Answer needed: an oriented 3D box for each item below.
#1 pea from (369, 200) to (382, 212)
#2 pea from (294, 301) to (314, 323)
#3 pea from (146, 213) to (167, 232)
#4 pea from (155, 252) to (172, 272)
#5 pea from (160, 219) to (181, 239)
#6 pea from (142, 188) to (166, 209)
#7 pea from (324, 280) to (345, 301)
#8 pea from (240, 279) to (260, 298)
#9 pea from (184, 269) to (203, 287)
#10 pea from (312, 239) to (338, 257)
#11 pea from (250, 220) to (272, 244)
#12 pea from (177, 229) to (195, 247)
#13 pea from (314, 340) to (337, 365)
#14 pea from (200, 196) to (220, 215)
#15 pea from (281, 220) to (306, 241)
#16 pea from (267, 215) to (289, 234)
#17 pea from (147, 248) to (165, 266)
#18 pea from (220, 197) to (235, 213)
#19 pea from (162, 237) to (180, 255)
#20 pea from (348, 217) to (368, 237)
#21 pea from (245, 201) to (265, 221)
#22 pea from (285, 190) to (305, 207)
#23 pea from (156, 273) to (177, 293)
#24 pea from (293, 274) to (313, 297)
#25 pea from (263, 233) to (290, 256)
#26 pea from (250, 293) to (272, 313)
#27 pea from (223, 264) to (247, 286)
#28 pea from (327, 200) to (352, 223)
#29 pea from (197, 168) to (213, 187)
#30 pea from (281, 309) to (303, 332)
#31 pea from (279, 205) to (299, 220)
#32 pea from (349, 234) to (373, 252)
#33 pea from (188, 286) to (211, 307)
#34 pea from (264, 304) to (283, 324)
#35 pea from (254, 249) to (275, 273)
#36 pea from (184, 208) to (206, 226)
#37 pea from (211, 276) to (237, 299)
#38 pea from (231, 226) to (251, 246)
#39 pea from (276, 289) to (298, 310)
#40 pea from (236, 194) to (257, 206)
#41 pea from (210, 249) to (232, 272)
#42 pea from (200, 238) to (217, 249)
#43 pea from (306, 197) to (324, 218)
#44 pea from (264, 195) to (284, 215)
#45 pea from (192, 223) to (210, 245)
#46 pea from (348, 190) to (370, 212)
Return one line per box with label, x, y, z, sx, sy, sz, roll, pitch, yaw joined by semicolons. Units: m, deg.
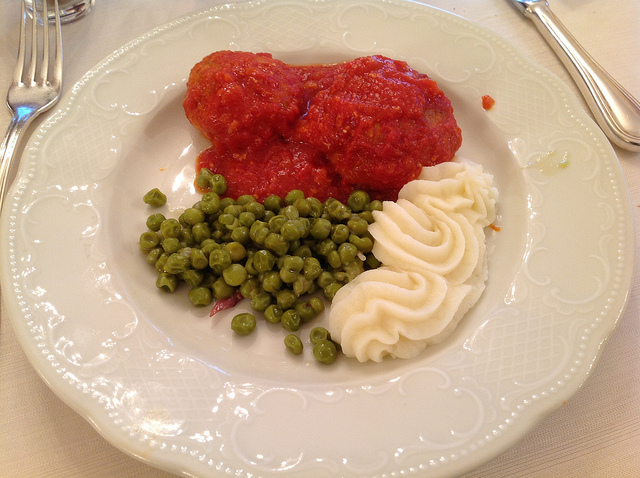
pea;0.394;-0.228;4.780;0.059;0.071;0.080;13;60;-1
pea;-0.099;0.473;4.518;0.112;0.126;0.129;-4;53;13
pea;-1.136;-0.116;4.734;0.107;0.062;0.115;19;66;24
pea;-1.046;0.152;4.581;0.041;0.091;0.128;24;79;-24
pea;-1.018;-0.071;4.612;0.103;0.059;0.124;-11;67;-2
pea;-1.160;-0.287;4.832;0.115;0.084;0.127;23;58;2
pea;0.090;0.335;4.583;0.054;0.099;0.141;35;91;-31
pea;-0.474;0.326;4.521;0.097;0.070;0.136;-2;59;-3
pea;-0.847;0.254;4.532;0.101;0.097;0.081;4;89;-10
pea;0.032;0.054;4.643;0.114;0.083;0.109;-3;44;2
pea;-0.414;-0.052;4.566;0.126;0.070;0.140;24;57;8
pea;-0.913;-0.015;4.667;0.095;0.045;0.114;9;65;-9
pea;0.036;0.719;4.387;0.146;0.076;0.145;1;77;-2
pea;-0.761;-0.236;4.689;0.099;0.064;0.125;-3;59;-4
pea;-0.182;-0.037;4.523;0.119;0.066;0.136;-5;72;-6
pea;-0.283;-0.103;4.616;0.095;0.068;0.127;9;58;12
pea;-1.123;0.116;4.606;0.096;0.035;0.109;3;86;6
pea;-0.653;-0.226;4.781;0.090;0.055;0.083;-23;32;30
pea;-1.004;0.044;4.571;0.080;0.054;0.122;5;88;-8
pea;0.259;-0.088;4.710;0.104;0.058;0.126;-2;83;0
pea;-0.454;-0.175;4.740;0.112;0.059;0.119;-32;92;-46
pea;-0.176;-0.306;4.760;0.088;0.071;0.124;23;63;42
pea;-1.020;0.282;4.590;0.115;0.122;0.122;24;56;16
pea;-0.113;0.307;4.522;0.100;0.044;0.142;13;72;40
pea;-0.290;0.023;4.535;0.138;0.153;0.108;4;21;33
pea;-0.393;0.416;4.537;0.108;0.075;0.130;16;58;17
pea;-0.561;0.235;4.501;0.137;0.111;0.127;2;73;40
pea;0.134;-0.185;4.695;0.116;0.077;0.153;-36;78;-20
pea;-0.825;-0.438;4.850;0.086;0.075;0.132;5;63;-2
pea;-0.189;0.531;4.476;0.102;0.075;0.146;-4;65;-7
pea;-0.201;-0.175;4.628;0.089;0.054;0.106;2;53;-13
pea;0.274;0.010;4.644;0.126;0.068;0.103;34;59;18
pea;-0.798;0.374;4.537;0.105;0.075;0.150;0;53;-14
pea;-0.307;0.490;4.510;0.103;0.120;0.115;9;39;-9
pea;-0.369;0.143;4.492;0.121;0.077;0.142;14;63;-17
pea;-0.865;-0.157;4.657;0.086;0.070;0.140;2;84;-9
pea;-0.653;0.329;4.616;0.153;0.119;0.140;6;101;-27
pea;-0.535;-0.028;4.660;0.107;0.115;0.117;-39;90;-4
pea;-0.222;0.405;4.518;0.095;0.072;0.142;-2;83;-10
pea;-0.525;-0.275;4.761;0.077;0.093;0.058;-43;112;-38
pea;-0.663;0.141;4.544;0.117;0.077;0.137;16;69;-1
pea;-0.768;0.024;4.626;0.066;0.026;0.074;8;46;32
pea;-0.029;-0.215;4.771;0.102;0.051;0.130;-6;60;-9
pea;-0.328;-0.239;4.704;0.114;0.075;0.136;-3;59;-1
pea;-0.817;-0.038;4.641;0.088;0.071;0.142;-1;80;1
pea;0.267;-0.267;4.745;0.101;0.083;0.160;6;86;1
